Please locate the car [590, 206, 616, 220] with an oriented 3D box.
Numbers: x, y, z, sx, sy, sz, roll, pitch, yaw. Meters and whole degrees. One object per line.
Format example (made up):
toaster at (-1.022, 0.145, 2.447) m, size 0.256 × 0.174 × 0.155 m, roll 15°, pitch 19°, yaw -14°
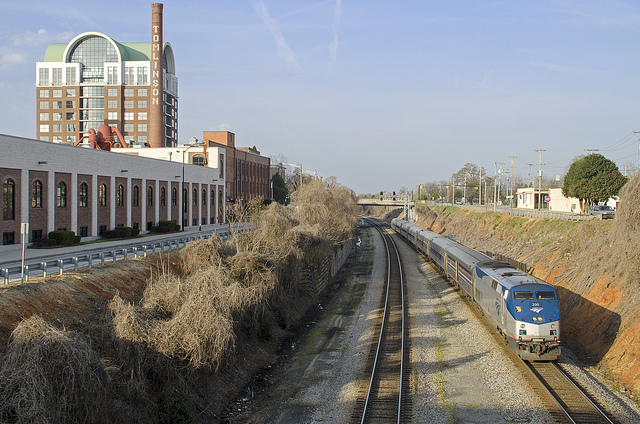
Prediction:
car at (30.850, 0.055, 61.565) m, size 1.458 × 1.249 × 2.619 m, roll -1°, pitch -1°, yaw -12°
